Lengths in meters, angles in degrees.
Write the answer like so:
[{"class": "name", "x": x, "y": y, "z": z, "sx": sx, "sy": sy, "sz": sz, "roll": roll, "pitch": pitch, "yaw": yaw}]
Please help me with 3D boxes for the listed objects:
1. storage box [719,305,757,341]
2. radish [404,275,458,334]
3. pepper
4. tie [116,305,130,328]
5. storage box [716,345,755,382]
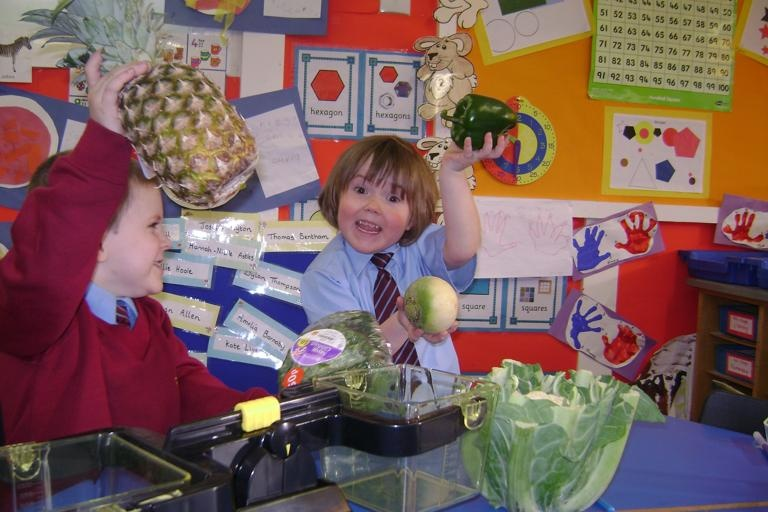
[{"class": "storage box", "x": 1.509, "y": 0.279, "z": 2.372, "sx": 0.126, "sy": 0.081, "sz": 0.126, "roll": -5, "pitch": 10, "yaw": -29}, {"class": "radish", "x": 0.124, "y": 0.126, "z": 1.531, "sx": 0.141, "sy": 0.141, "sz": 0.143, "roll": -3, "pitch": 10, "yaw": -20}, {"class": "pepper", "x": 0.272, "y": -0.374, "z": 1.553, "sx": 0.159, "sy": 0.164, "sz": 0.204, "roll": 1, "pitch": 6, "yaw": -19}, {"class": "tie", "x": -0.645, "y": 0.147, "z": 1.374, "sx": 0.015, "sy": 0.051, "sz": 0.031, "roll": -2, "pitch": 6, "yaw": 34}, {"class": "storage box", "x": 1.525, "y": 0.472, "z": 2.411, "sx": 0.151, "sy": 0.097, "sz": 0.156, "roll": 6, "pitch": -7, "yaw": 12}]
